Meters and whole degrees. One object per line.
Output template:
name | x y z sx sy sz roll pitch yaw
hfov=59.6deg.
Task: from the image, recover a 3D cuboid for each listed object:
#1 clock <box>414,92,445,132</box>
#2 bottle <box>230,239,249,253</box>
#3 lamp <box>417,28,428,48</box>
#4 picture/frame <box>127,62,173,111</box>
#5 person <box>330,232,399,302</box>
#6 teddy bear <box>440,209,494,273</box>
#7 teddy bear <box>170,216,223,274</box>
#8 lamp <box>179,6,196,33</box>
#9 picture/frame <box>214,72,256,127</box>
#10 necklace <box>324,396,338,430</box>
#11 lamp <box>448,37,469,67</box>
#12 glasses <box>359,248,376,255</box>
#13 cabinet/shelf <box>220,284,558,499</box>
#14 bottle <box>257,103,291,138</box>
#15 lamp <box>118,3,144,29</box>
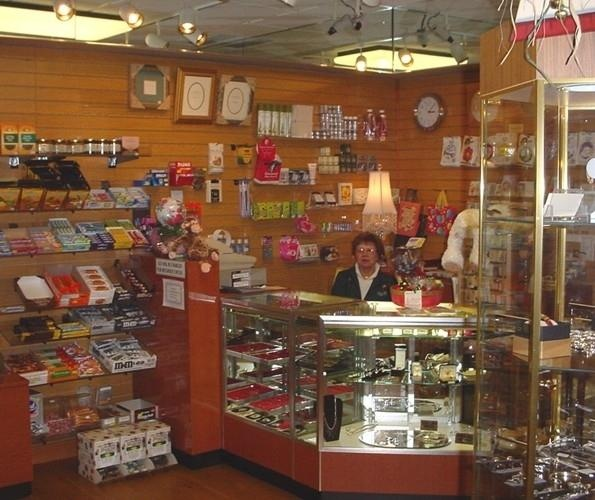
clock | 1.859 -1.942 7.327 0.112 0.497 0.427 -10 11 -37
bottle | -0.684 -0.054 6.235 0.244 0.178 0.144 -5 9 -21
lamp | 1.500 -2.538 6.227 0.121 0.158 0.284 -1 8 13
picture/frame | -1.523 -1.678 5.360 0.131 0.407 0.544 9 11 43
person | 0.699 0.180 5.765 1.068 0.887 0.543 2 0 6
teddy bear | 1.649 -0.084 4.952 0.515 0.751 0.287 19 -12 -33
teddy bear | -0.895 -0.050 4.337 0.342 0.450 0.437 -9 10 -35
lamp | -0.982 -2.041 4.613 0.134 0.245 0.241 -4 9 -9
picture/frame | -0.713 -1.736 6.020 0.490 0.531 0.101 -9 11 -39
necklace | 0.225 1.094 3.525 0.089 0.232 0.033 -3 9 3
lamp | 1.930 -2.430 6.269 0.217 0.307 0.367 0 9 17
glasses | 0.720 0.003 5.373 0.160 0.056 0.036 -1 9 9
cabinet/shelf | 0.578 0.444 4.033 3.223 1.521 1.352 3 5 33
bottle | -0.273 -1.579 6.416 0.514 0.374 0.431 -6 9 -42
lamp | -1.456 -2.059 4.545 0.172 0.208 0.328 -5 9 -16
